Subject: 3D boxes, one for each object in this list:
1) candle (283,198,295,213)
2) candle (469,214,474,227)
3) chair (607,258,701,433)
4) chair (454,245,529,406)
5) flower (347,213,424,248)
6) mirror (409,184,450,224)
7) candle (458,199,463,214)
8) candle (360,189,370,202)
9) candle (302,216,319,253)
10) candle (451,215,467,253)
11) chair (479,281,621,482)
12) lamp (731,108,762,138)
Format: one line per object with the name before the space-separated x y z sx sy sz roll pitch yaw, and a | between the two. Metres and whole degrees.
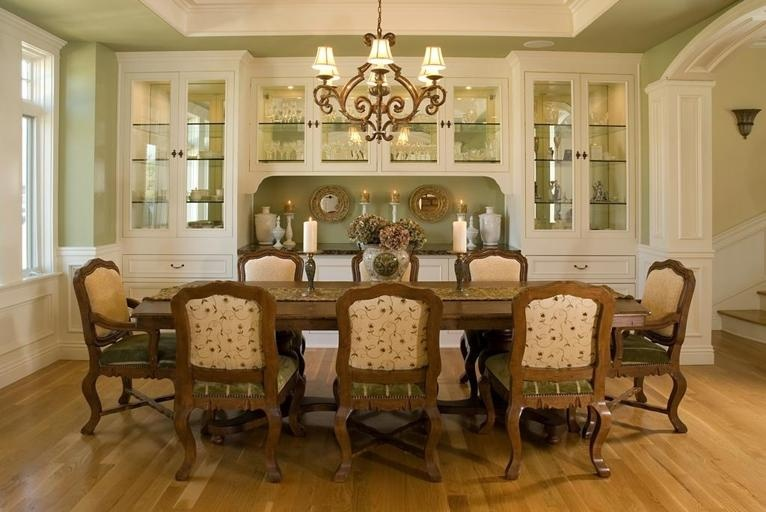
candle | -1.084 -0.583 6.767 0.131 0.153 0.126 -2 6 -9
candle | 1.013 -0.423 6.788 0.061 0.130 0.185 0 6 8
chair | 1.970 0.686 4.855 1.029 1.300 0.965 0 6 18
chair | 0.953 0.439 5.115 0.669 1.089 0.762 -2 -8 27
flower | 0.027 -0.189 4.708 0.391 0.178 0.349 1 2 11
mirror | 0.533 -0.627 6.782 0.674 0.574 0.068 1 5 0
candle | 0.904 -0.584 6.782 0.068 0.154 0.120 0 6 7
candle | -0.201 -0.696 6.737 0.125 0.192 0.119 1 2 7
candle | -0.579 -0.151 4.657 0.084 0.253 0.050 0 7 7
candle | 0.599 -0.147 4.604 0.090 0.252 0.107 -1 7 -3
chair | 1.167 0.812 4.174 0.753 1.339 0.512 -1 7 -3
lamp | 4.259 -1.560 6.989 0.359 0.333 0.341 0 3 -6
